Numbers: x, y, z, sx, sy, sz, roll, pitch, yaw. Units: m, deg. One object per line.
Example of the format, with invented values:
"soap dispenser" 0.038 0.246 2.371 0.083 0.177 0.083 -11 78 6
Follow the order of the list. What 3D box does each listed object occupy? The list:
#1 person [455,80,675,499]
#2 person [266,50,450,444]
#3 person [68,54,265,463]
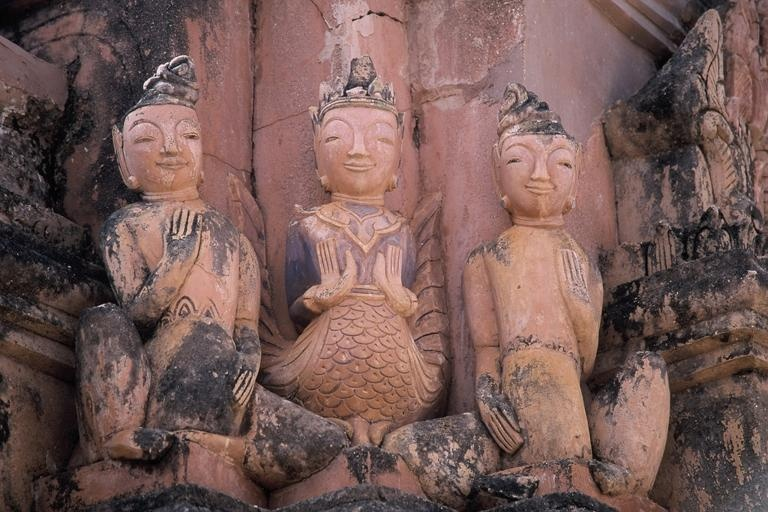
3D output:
"person" 0.893 0.178 10.644 0.966 2.219 0.450 -1 -25 2
"person" -0.141 -0.011 10.744 0.898 2.027 0.599 1 -25 -2
"person" -1.035 0.018 10.444 0.885 2.133 0.380 4 -25 -8
